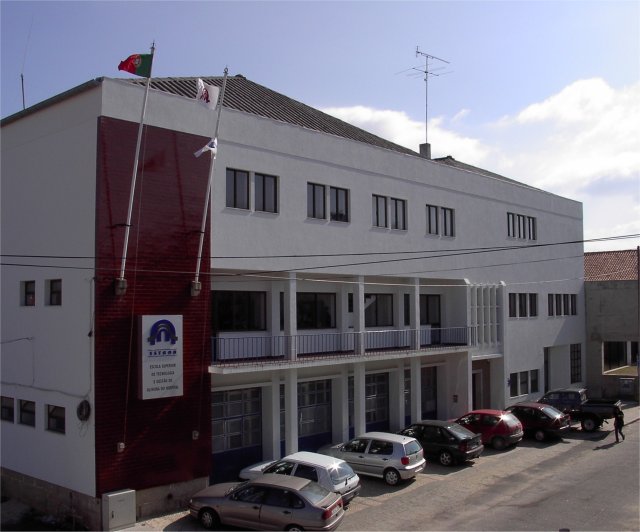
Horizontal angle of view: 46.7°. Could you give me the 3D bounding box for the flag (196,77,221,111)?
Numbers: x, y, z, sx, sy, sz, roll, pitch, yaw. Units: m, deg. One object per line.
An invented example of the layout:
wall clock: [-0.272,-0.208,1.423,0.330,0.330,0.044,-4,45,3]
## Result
flag: [-4.032,-6.179,26.406,0.799,0.986,0.364,1,-9,-31]

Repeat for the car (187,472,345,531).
car: [-1.733,7.648,24.142,4.213,1.740,2.077,2,-5,23]

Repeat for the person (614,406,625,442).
person: [14.541,7.633,36.070,0.428,1.612,2.140,-7,-9,21]
